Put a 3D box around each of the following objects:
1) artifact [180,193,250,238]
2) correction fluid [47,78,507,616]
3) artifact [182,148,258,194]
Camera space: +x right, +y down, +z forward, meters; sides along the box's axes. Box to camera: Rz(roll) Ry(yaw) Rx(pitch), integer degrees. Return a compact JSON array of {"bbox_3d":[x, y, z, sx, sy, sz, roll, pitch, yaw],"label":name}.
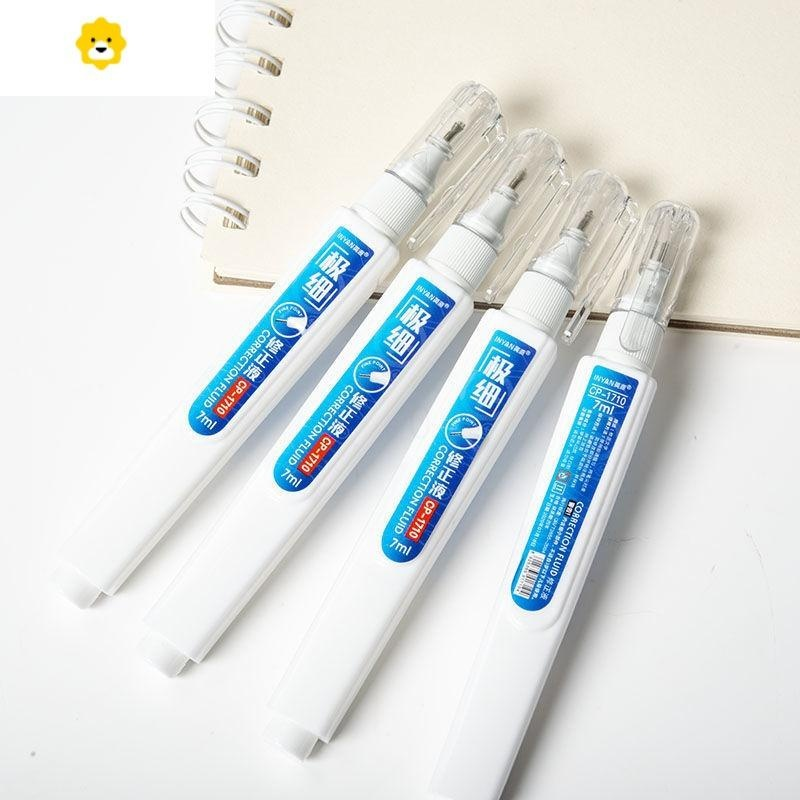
[{"bbox_3d":[-0.140,-0.142,0.613,0.056,0.022,0.041,24,4,7],"label":"artifact"},{"bbox_3d":[-0.078,-0.028,0.552,0.070,0.491,0.068,42,-8,8],"label":"correction fluid"},{"bbox_3d":[-0.142,-0.184,0.612,0.056,0.013,0.039,16,-29,-31],"label":"artifact"}]
